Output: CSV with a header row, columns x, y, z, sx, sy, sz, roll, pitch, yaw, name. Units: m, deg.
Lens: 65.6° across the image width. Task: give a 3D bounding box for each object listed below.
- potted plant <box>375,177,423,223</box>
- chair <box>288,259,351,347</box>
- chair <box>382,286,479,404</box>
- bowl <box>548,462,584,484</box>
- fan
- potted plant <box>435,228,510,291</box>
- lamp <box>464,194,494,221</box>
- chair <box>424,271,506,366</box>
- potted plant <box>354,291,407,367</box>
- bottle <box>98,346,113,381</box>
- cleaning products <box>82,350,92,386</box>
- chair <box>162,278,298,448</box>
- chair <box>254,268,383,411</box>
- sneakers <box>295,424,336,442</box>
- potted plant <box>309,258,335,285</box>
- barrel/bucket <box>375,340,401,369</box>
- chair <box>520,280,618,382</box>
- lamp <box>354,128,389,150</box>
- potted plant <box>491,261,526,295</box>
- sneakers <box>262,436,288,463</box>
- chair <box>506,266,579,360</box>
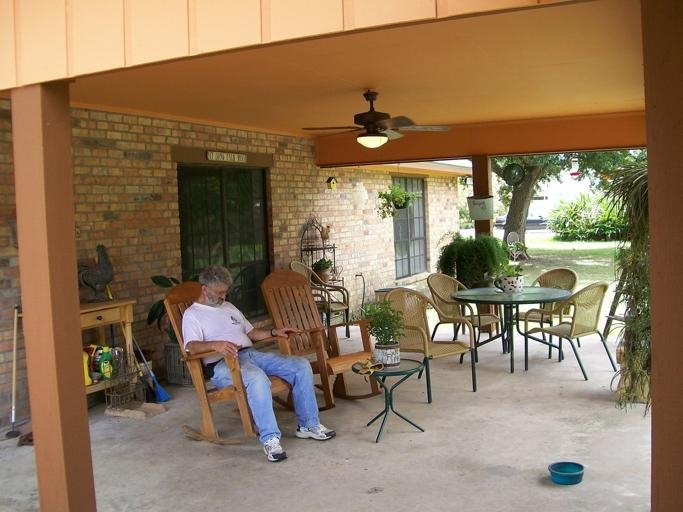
x,y,z,sx,sy,sz,roll,pitch,yaw,name
0.992,-1.155,10.678,0.952,0.624,1.115,-10,10,-37,potted plant
-0.313,0.643,7.704,0.772,1.009,0.638,2,2,24,chair
0.845,0.816,5.151,0.695,0.977,0.761,0,0,-28,chair
1.451,1.404,3.468,0.143,0.058,0.163,-2,-5,-30,bowl
0.378,-1.294,5.429,1.015,0.402,0.929,-5,9,-35,fan
1.849,0.057,7.648,0.902,0.830,0.788,0,-1,-6,potted plant
2.022,-0.689,7.686,0.358,0.370,0.334,-1,6,14,lamp
1.535,0.712,6.663,0.789,0.983,0.699,0,2,43,chair
0.311,0.633,4.697,0.478,0.757,0.484,-4,5,-38,potted plant
-2.185,1.001,4.940,0.128,0.301,0.079,-6,7,-27,bottle
-2.312,1.027,4.872,0.057,0.294,0.196,-6,7,-26,cleaning products
-1.270,1.011,4.562,0.913,1.137,0.813,1,-18,-29,chair
-0.264,0.500,5.203,0.579,0.953,0.693,-3,-30,-44,chair
-0.201,1.435,4.352,0.328,0.145,0.118,-1,-4,16,sneakers
-0.273,0.241,8.452,0.428,0.410,0.359,0,-3,-23,potted plant
0.378,0.796,4.287,0.188,0.151,0.185,0,0,0,barrel/bucket
2.492,0.761,5.836,0.810,0.971,0.877,-2,2,-15,chair
0.320,-1.196,5.350,0.274,0.171,0.331,-2,5,11,lamp
1.985,0.259,6.416,0.388,0.434,0.492,0,0,-43,potted plant
-0.485,1.436,3.963,0.162,0.165,0.142,-4,6,-7,sneakers
2.544,0.647,6.532,0.703,0.890,0.652,-9,3,-26,chair
